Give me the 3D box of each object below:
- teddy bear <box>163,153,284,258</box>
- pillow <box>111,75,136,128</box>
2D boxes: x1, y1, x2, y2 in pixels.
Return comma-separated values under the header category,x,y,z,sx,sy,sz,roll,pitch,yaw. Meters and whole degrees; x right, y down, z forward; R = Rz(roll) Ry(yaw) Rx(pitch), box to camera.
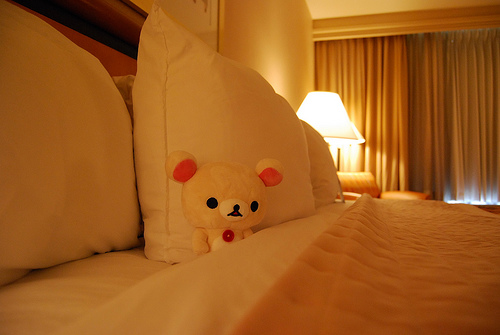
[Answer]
category,x,y,z,sx,sy,sz,roll,pitch,yaw
teddy bear,-0.059,0.099,0.893,0.266,0.292,0.133,0,16,-15
pillow,-0.376,-0.201,1.071,0.111,0.156,0.043,1,-11,-13
